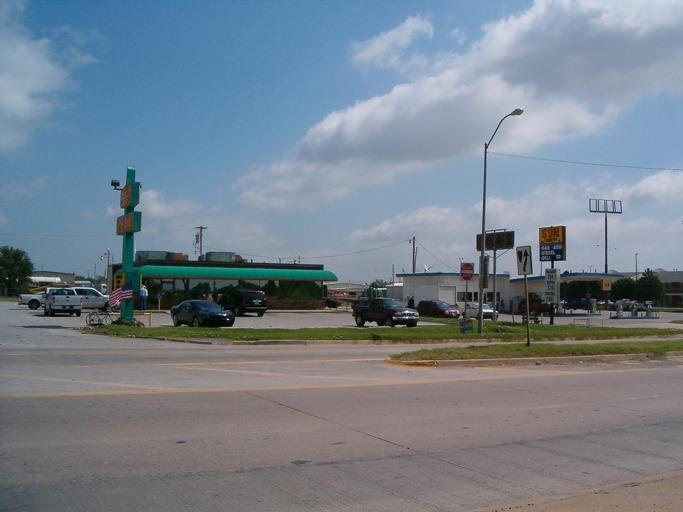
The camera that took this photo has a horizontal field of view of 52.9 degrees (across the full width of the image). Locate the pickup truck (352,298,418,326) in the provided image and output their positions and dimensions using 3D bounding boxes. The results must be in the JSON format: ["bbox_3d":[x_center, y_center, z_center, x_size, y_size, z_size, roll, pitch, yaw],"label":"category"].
[{"bbox_3d":[2.366,3.188,38.974,3.986,1.626,1.097,-1,-1,42],"label":"pickup truck"}]

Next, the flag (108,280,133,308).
[{"bbox_3d":[-10.881,1.816,33.884,1.452,1.244,0.688,0,0,42],"label":"flag"}]

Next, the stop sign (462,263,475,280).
[{"bbox_3d":[5.477,0.635,29.837,0.805,0.907,0.129,-2,1,-40],"label":"stop sign"}]
